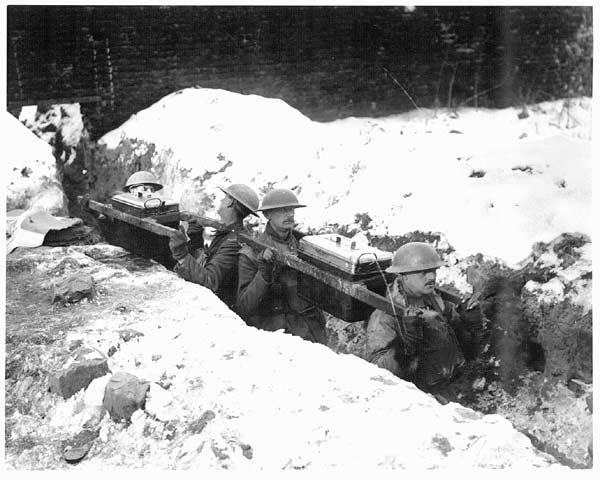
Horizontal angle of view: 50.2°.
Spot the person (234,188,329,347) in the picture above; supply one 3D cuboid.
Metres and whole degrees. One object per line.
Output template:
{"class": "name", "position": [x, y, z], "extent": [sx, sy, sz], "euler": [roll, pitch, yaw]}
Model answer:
{"class": "person", "position": [-0.262, 0.292, 6.753], "extent": [1.020, 1.652, 0.626], "euler": [5, 11, 27]}

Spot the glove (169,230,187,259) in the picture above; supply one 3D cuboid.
{"class": "glove", "position": [-1.405, 0.053, 7.459], "extent": [0.112, 0.324, 0.205], "euler": [3, 4, -29]}

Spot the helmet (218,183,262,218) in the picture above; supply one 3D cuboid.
{"class": "helmet", "position": [-0.687, -0.443, 7.435], "extent": [0.385, 0.161, 0.362], "euler": [39, 4, 19]}

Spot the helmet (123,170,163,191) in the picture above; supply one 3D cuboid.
{"class": "helmet", "position": [-2.179, -0.823, 8.894], "extent": [0.317, 0.159, 0.346], "euler": [0, -7, -9]}

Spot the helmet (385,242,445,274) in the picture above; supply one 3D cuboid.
{"class": "helmet", "position": [0.988, 0.156, 5.498], "extent": [0.312, 0.160, 0.303], "euler": [-13, 6, -30]}
